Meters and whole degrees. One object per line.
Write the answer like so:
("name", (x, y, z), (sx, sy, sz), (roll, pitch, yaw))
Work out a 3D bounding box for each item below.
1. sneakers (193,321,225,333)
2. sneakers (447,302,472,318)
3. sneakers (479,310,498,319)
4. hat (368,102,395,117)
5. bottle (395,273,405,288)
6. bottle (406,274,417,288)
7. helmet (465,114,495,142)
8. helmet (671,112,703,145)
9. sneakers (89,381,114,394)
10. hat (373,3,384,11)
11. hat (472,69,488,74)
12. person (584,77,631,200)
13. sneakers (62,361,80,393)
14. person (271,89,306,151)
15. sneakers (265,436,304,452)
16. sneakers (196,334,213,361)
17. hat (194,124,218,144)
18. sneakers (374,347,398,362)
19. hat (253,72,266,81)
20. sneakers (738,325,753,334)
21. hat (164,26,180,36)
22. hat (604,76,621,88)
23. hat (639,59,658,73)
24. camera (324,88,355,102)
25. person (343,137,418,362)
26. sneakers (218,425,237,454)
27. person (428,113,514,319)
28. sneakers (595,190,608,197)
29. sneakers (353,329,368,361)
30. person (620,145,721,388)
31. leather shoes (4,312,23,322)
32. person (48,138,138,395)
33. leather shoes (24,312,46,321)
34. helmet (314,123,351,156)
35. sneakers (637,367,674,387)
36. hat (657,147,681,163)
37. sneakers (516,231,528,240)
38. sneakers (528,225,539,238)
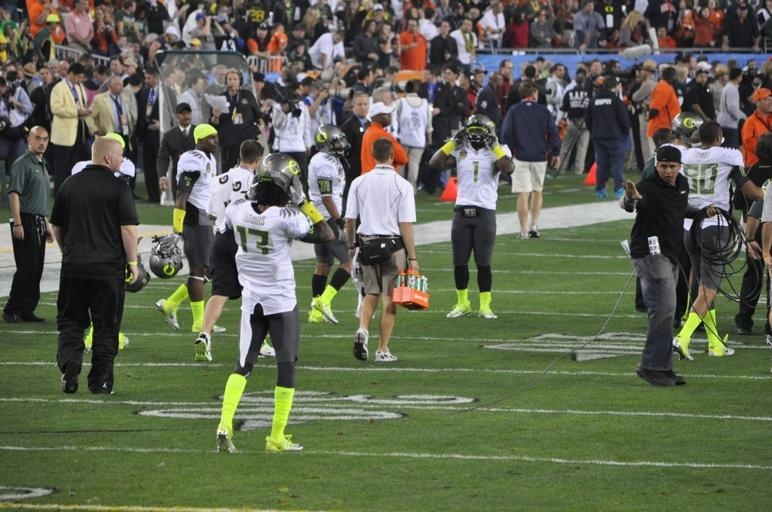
("sneakers", (-2.572, 1.004, 22.389), (0.521, 0.189, 0.164), (-1, 12, 2))
("sneakers", (1.061, 0.805, 23.361), (0.446, 0.153, 0.152), (-11, 12, -21))
("sneakers", (1.580, 0.856, 23.208), (0.323, 0.125, 0.108), (-3, 4, 39))
("hat", (-0.069, -2.112, 22.581), (0.348, 0.111, 0.217), (-7, 16, -13))
("bottle", (0.184, 0.316, 20.471), (0.126, 0.175, 0.206), (-1, 13, -3))
("bottle", (0.335, 0.311, 20.391), (0.105, 0.132, 0.050), (5, -18, 3))
("helmet", (1.427, -1.873, 23.189), (0.373, 0.340, 0.441), (11, 28, 10))
("helmet", (4.375, -1.831, 22.243), (0.408, 0.464, 0.431), (-6, -31, 6))
("sneakers", (-3.591, 1.616, 19.349), (0.268, 0.231, 0.158), (-1, 1, 3))
("hat", (-0.206, -6.266, 39.386), (0.265, 0.135, 0.398), (0, 10, -4))
("hat", (2.248, -4.359, 36.794), (0.404, 0.098, 0.362), (3, 2, 1))
("person", (4.920, -2.566, 34.170), (0.919, 2.721, 1.177), (2, 13, 8))
("sneakers", (-3.960, 1.471, 19.261), (0.177, 0.410, 0.198), (-1, -1, -17))
("person", (-1.999, -2.624, 31.905), (0.711, 1.096, 0.950), (-1, 13, -3))
("sneakers", (-1.197, 2.120, 17.707), (0.485, 0.188, 0.162), (0, 7, -10))
("sneakers", (-2.463, 1.216, 20.708), (0.192, 0.395, 0.198), (-2, 43, 2))
("hat", (-2.580, -1.720, 21.949), (0.322, 0.219, 0.281), (1, 0, -7))
("sneakers", (0.010, 1.317, 20.836), (0.357, 0.142, 0.131), (-2, 6, -39))
("hat", (-2.824, -3.910, 34.016), (0.251, 0.182, 0.262), (-6, -12, 3))
("sneakers", (5.172, 1.045, 22.139), (0.205, 0.074, 0.091), (-1, 8, 3))
("hat", (-4.998, -5.091, 35.252), (0.413, 0.193, 0.290), (-2, -2, 38))
("hat", (4.969, -3.771, 34.066), (0.217, 0.325, 0.567), (5, 14, 20))
("hat", (6.335, -4.561, 36.971), (0.467, 0.147, 0.467), (7, -4, 4))
("camera", (-1.027, -3.581, 34.456), (0.702, 0.218, 0.246), (-3, -31, 33))
("person", (-0.074, -0.095, 20.848), (0.933, 2.945, 1.258), (-1, 13, -2))
("sneakers", (-1.829, 2.047, 17.600), (0.221, 0.312, 0.211), (-2, 13, -10))
("person", (1.299, -0.570, 23.214), (1.124, 2.946, 0.933), (-1, 13, -2))
("sneakers", (4.877, -1.377, 34.774), (0.128, 0.137, 0.332), (-1, 1, -5))
("sneakers", (-0.324, 1.178, 20.679), (0.200, 0.410, 0.209), (3, 32, 13))
("person", (3.452, 0.111, 19.609), (0.828, 2.936, 0.723), (2, 14, 10))
("leather shoes", (-5.517, 0.889, 22.656), (0.301, 0.112, 0.107), (2, 9, 7))
("person", (-3.662, 0.121, 19.371), (1.069, 3.072, 0.949), (-3, 14, -13))
("leather shoes", (-5.225, 0.883, 22.802), (0.339, 0.125, 0.109), (0, 20, -19))
("helmet", (-0.794, -1.646, 22.385), (0.533, 0.369, 0.391), (2, 34, -2))
("sneakers", (3.452, 1.513, 19.663), (0.479, 0.195, 0.177), (10, 37, 5))
("hat", (3.603, -1.275, 19.567), (0.291, 0.215, 0.357), (1, 13, 5))
("sneakers", (2.621, -0.393, 29.553), (0.162, 0.164, 0.413), (-1, -2, 5))
("sneakers", (2.852, -0.440, 29.661), (0.150, 0.122, 0.305), (0, -8, 8))
